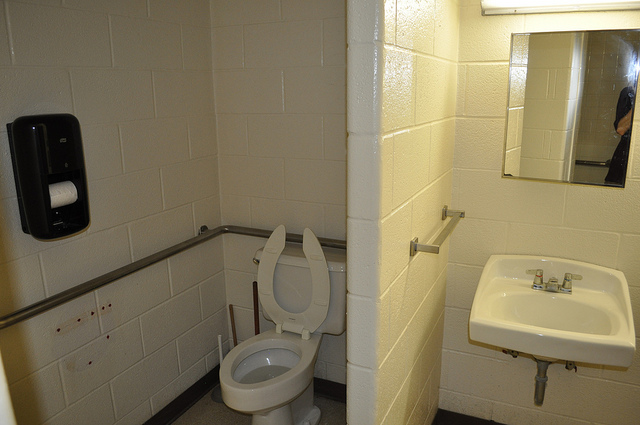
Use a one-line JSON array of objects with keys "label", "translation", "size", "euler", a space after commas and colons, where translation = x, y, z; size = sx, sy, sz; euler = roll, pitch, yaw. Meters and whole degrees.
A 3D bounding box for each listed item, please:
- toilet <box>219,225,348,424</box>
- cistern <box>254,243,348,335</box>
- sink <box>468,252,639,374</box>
[{"label": "toilet", "translation": [-0.197, 0.667, 2.648], "size": [0.665, 1.269, 0.733], "euler": [11, 18, 30]}, {"label": "cistern", "translation": [-0.054, 0.495, 2.770], "size": [0.488, 0.521, 0.467], "euler": [13, 19, 21]}, {"label": "sink", "translation": [1.107, 0.428, 2.184], "size": [0.740, 0.279, 0.587], "euler": [7, 18, 18]}]
